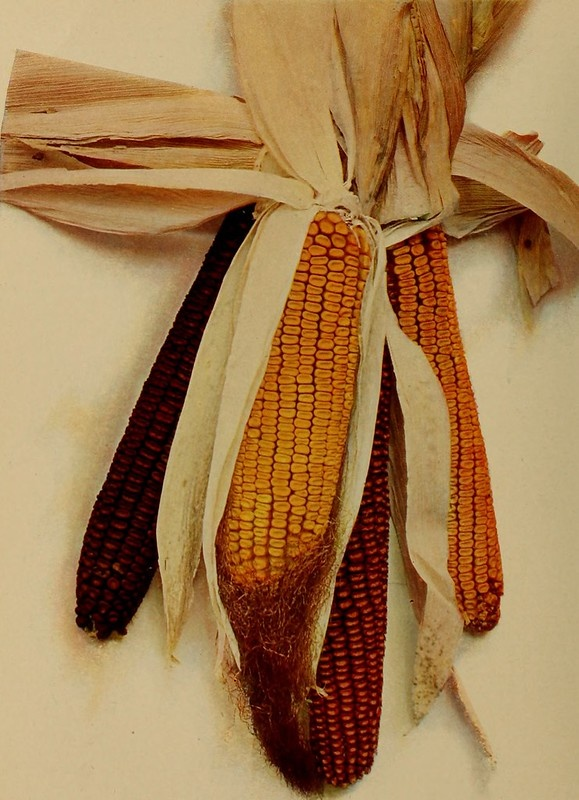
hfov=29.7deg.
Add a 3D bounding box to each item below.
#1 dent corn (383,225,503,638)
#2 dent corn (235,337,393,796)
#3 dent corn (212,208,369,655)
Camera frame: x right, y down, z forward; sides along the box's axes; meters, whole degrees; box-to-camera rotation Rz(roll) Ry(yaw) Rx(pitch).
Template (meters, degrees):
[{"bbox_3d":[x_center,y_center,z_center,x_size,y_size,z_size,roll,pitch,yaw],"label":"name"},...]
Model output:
[{"bbox_3d":[0.194,0.030,1.405,0.112,0.531,0.110,-8,1,-34],"label":"dent corn"},{"bbox_3d":[0.044,0.229,1.366,0.108,0.492,0.098,19,-13,-39],"label":"dent corn"},{"bbox_3d":[0.052,0.031,1.251,0.131,0.471,0.124,18,4,19],"label":"dent corn"}]
